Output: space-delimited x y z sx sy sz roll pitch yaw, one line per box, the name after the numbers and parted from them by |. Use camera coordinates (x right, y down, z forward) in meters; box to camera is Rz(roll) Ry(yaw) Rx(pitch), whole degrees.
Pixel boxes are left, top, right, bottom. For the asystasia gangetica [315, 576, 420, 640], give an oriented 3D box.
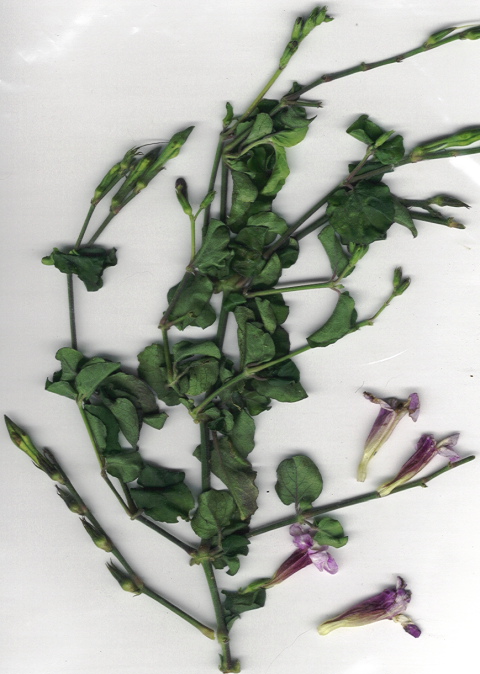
0.254 0.542 1.395 0.187 0.104 0.046 -20 -11 2 | asystasia gangetica

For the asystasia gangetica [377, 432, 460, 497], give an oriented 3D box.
0.342 0.232 1.327 0.084 0.186 0.045 50 3 15 | asystasia gangetica

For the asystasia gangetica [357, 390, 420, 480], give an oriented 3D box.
0.254 0.176 1.338 0.128 0.162 0.074 24 14 -3 | asystasia gangetica

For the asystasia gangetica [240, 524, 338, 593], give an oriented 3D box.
0.083 0.443 1.318 0.174 0.063 0.100 -23 27 -19 | asystasia gangetica
